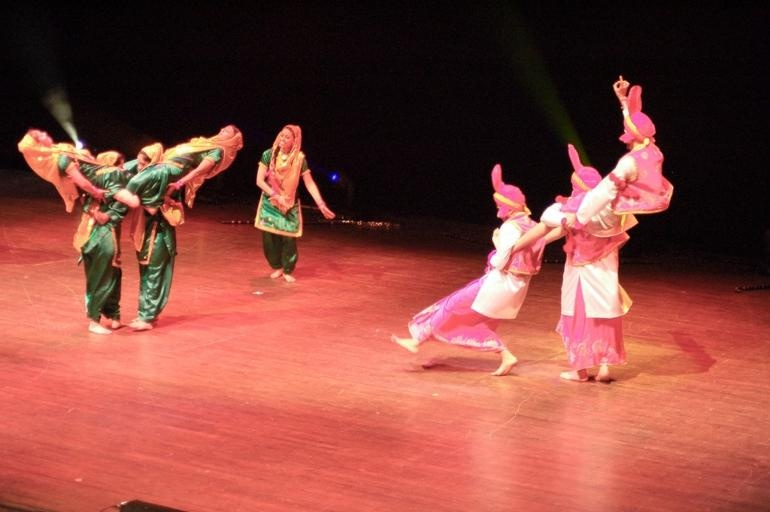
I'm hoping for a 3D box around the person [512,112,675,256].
[{"bbox_3d":[1.481,-0.633,4.523,1.356,1.039,0.989,-2,15,37],"label":"person"}]

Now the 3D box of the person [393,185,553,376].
[{"bbox_3d":[0.760,0.163,4.482,0.715,1.303,0.836,15,-20,-23],"label":"person"}]

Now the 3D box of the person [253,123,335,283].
[{"bbox_3d":[-1.212,-0.608,7.059,0.802,1.794,1.026,8,-19,-4],"label":"person"}]
